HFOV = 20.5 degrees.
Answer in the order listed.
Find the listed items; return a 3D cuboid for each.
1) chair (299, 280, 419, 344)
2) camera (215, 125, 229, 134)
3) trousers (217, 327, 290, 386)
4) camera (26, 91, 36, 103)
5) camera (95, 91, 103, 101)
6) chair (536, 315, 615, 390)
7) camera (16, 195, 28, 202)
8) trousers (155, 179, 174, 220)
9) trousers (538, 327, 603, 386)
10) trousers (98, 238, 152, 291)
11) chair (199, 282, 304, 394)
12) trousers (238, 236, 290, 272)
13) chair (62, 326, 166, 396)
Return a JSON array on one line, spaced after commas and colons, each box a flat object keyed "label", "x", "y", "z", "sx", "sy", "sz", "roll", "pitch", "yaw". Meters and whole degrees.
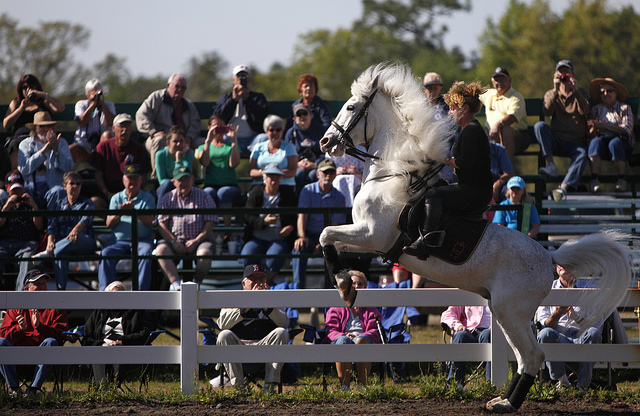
[{"label": "chair", "x": 1.230, "y": 2.977, "z": 45.582, "sx": 2.326, "sy": 1.763, "sz": 2.348, "roll": -8, "pitch": 0, "yaw": -18}, {"label": "camera", "x": -2.596, "y": -2.105, "z": 47.299, "sx": 0.371, "sy": 0.248, "sz": 0.146, "roll": 1, "pitch": -4, "yaw": -2}, {"label": "trousers", "x": -1.559, "y": 3.850, "z": 44.611, "sx": 1.701, "sy": 2.112, "sz": 1.520, "roll": 0, "pitch": 7, "yaw": -6}, {"label": "camera", "x": -7.872, "y": -3.002, "z": 48.080, "sx": 0.210, "sy": 0.193, "sz": 0.209, "roll": -2, "pitch": 1, "yaw": 6}, {"label": "camera", "x": -5.972, "y": -3.044, "z": 47.800, "sx": 0.117, "sy": 0.317, "sz": 0.084, "roll": 8, "pitch": 16, "yaw": -35}, {"label": "chair", "x": 6.499, "y": 3.909, "z": 44.049, "sx": 1.765, "sy": 3.071, "sz": 2.353, "roll": 0, "pitch": 6, "yaw": 7}, {"label": "camera", "x": -7.762, "y": -0.229, "z": 46.099, "sx": 0.282, "sy": 0.168, "sz": 0.043, "roll": 2, "pitch": -4, "yaw": -21}, {"label": "trousers", "x": -3.947, "y": -0.147, "z": 46.689, "sx": 0.648, "sy": 1.247, "sz": 0.280, "roll": -13, "pitch": -27, "yaw": 42}, {"label": "trousers", "x": 6.220, "y": 3.719, "z": 43.584, "sx": 1.393, "sy": 1.384, "sz": 1.577, "roll": 3, "pitch": -6, "yaw": 3}, {"label": "trousers", "x": -5.157, "y": 1.556, "z": 46.081, "sx": 1.471, "sy": 1.799, "sz": 1.251, "roll": -1, "pitch": -16, "yaw": 12}, {"label": "chair", "x": -1.744, "y": 3.362, "z": 44.589, "sx": 2.677, "sy": 3.100, "sz": 2.819, "roll": 0, "pitch": -5, "yaw": 33}, {"label": "trousers", "x": -1.418, "y": 1.236, "z": 46.039, "sx": 1.277, "sy": 0.914, "sz": 1.189, "roll": 1, "pitch": -3, "yaw": 0}, {"label": "chair", "x": -5.119, "y": 4.048, "z": 45.273, "sx": 2.014, "sy": 2.447, "sz": 1.810, "roll": -3, "pitch": -20, "yaw": 14}]
